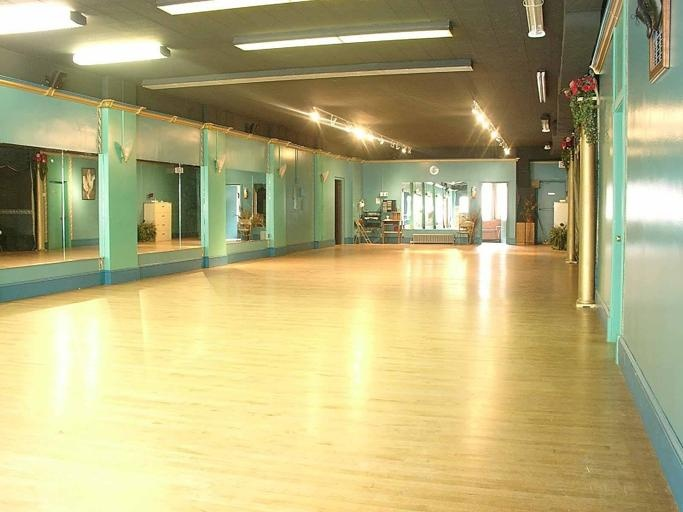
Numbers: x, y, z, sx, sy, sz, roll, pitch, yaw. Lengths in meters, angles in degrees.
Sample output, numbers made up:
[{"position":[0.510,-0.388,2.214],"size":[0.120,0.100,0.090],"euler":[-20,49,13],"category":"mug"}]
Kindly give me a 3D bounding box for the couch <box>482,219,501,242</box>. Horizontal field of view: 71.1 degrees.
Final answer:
[{"position":[7.729,-1.412,25.347],"size":[1.280,1.351,1.241],"euler":[0,0,23],"category":"couch"}]

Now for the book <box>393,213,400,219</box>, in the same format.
[{"position":[2.605,-1.880,22.558],"size":[0.305,0.326,0.074],"euler":[-1,-1,-1],"category":"book"}]

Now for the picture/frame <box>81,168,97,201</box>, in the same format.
[{"position":[-4.997,-1.432,9.497],"size":[0.253,0.489,0.008],"euler":[0,5,-11],"category":"picture/frame"}]

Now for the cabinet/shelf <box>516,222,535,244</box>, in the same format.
[{"position":[8.276,-1.059,21.705],"size":[1.085,1.158,0.824],"euler":[-1,-1,17],"category":"cabinet/shelf"}]

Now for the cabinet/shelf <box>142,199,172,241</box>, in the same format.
[{"position":[-4.264,-0.828,11.032],"size":[0.390,1.108,0.945],"euler":[0,2,16],"category":"cabinet/shelf"}]

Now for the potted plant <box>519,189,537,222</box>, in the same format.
[{"position":[8.288,-2.298,21.373],"size":[0.767,1.516,0.336],"euler":[0,3,-2],"category":"potted plant"}]

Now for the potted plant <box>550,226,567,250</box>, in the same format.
[{"position":[7.984,-0.666,17.728],"size":[0.771,0.867,0.729],"euler":[0,-2,2],"category":"potted plant"}]

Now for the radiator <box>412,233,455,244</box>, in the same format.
[{"position":[4.270,-0.823,22.212],"size":[1.946,0.439,0.494],"euler":[1,4,11],"category":"radiator"}]

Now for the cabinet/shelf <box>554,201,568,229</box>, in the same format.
[{"position":[9.078,-1.763,19.857],"size":[0.419,0.945,0.539],"euler":[3,4,36],"category":"cabinet/shelf"}]

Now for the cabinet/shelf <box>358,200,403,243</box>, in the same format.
[{"position":[1.855,-1.603,22.492],"size":[1.898,1.963,0.643],"euler":[0,0,3],"category":"cabinet/shelf"}]
